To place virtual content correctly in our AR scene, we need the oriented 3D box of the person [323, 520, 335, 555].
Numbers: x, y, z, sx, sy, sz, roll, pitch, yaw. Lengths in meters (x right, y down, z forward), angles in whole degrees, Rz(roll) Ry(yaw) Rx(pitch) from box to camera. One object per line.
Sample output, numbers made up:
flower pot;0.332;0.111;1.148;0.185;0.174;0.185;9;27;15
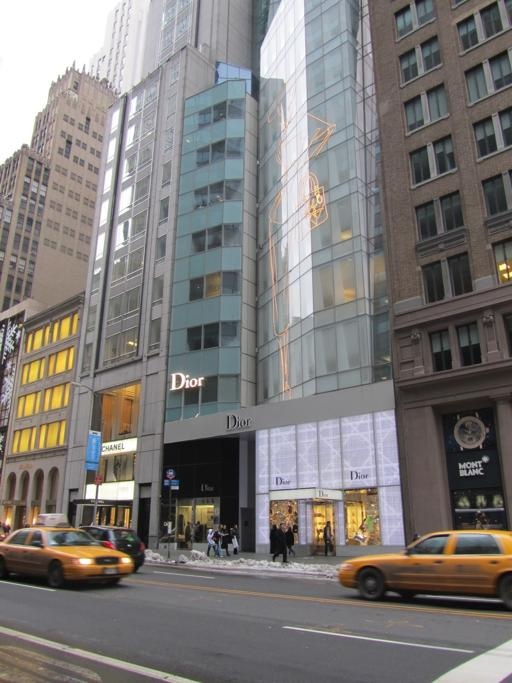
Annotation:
person;3.768;10.350;25.619;0.508;1.672;1.248;-6;-18;11
